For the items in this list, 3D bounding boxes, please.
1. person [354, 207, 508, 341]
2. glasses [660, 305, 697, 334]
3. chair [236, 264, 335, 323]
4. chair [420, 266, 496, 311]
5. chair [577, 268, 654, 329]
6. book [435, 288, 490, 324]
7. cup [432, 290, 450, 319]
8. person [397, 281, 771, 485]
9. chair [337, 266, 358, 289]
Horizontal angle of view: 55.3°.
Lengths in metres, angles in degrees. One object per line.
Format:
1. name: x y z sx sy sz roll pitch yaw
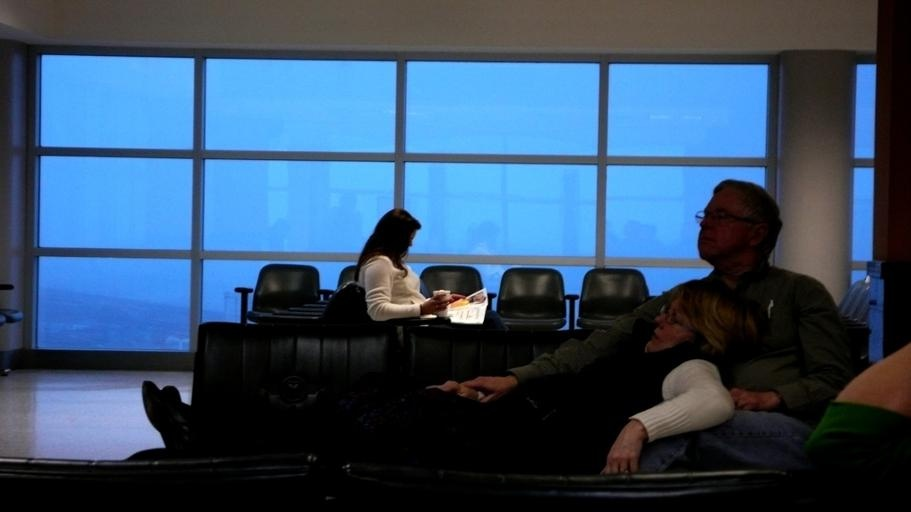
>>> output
1. person: -0.296 0.223 8.579 1.396 1.213 1.121 1 16 -23
2. glasses: 1.614 0.467 6.372 0.241 0.093 0.170 22 31 -23
3. chair: -1.967 0.400 9.980 1.041 0.930 0.863 0 -10 -4
4. chair: 0.015 0.407 10.502 0.704 0.623 0.572 0 -4 -4
5. chair: 1.929 0.489 10.598 0.965 0.694 0.759 0 -7 4
6. book: 0.100 0.519 8.317 0.386 0.104 0.367 -17 34 -12
7. cup: -0.156 0.457 8.391 0.246 0.314 0.223 -1 1 -6
8. person: 1.088 0.900 6.469 2.512 1.009 1.383 -13 25 -9
9. chair: -1.159 0.235 9.512 0.274 0.218 0.248 -5 -30 15
